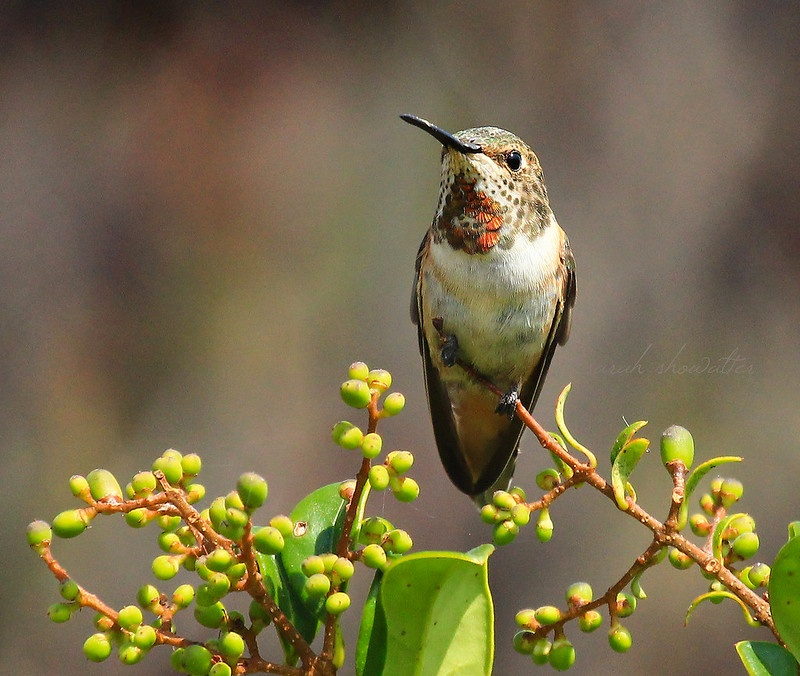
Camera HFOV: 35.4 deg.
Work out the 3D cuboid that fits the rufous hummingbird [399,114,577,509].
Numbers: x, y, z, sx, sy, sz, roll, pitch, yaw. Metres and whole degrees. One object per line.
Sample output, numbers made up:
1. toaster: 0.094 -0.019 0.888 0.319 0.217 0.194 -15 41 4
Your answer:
1. rufous hummingbird: 0.276 -0.125 4.287 0.379 1.139 1.063 2 -5 2
